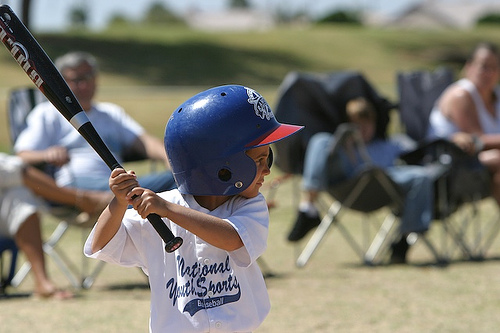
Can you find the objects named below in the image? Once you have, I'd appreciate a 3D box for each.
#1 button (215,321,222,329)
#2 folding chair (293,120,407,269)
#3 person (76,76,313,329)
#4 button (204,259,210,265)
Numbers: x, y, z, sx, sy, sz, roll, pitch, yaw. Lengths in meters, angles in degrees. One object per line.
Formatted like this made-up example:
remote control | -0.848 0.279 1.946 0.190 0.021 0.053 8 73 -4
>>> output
button | -0.211 1.041 6.376 0.049 0.047 0.011 -6 1 -1
folding chair | 1.127 0.273 9.427 1.274 1.376 1.072 1 -1 39
person | -0.341 0.268 6.447 1.239 1.576 0.506 -2 13 2
button | -0.285 0.624 6.413 0.039 0.032 0.007 -3 13 -3
